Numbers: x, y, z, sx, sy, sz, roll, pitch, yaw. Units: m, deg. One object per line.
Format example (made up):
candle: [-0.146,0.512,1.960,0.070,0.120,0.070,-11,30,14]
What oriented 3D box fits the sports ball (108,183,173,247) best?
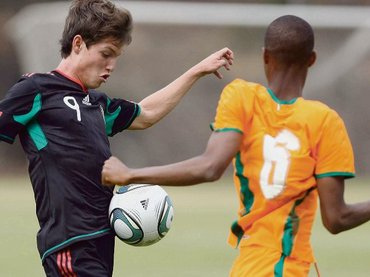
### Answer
sports ball: [-0.359,0.667,5.904,0.540,0.569,0.530,-7,-12,-2]
